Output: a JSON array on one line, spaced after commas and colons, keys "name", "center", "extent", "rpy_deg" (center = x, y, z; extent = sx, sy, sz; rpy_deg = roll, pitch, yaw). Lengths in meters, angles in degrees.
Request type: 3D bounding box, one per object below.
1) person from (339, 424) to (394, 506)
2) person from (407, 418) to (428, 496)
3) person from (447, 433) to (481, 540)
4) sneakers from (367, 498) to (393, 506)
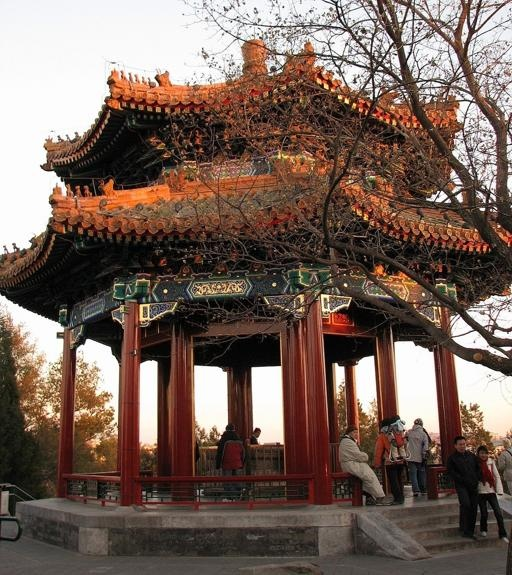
[{"name": "person", "center": [1.570, 2.696, 10.170], "extent": [0.504, 1.160, 0.613], "rpy_deg": [-15, -20, 37]}, {"name": "person", "center": [2.893, 3.038, 12.010], "extent": [0.391, 1.307, 1.118], "rpy_deg": [-6, -16, 11]}, {"name": "person", "center": [2.918, 2.772, 9.343], "extent": [0.422, 1.373, 0.614], "rpy_deg": [-7, -16, 15]}, {"name": "sneakers", "center": [1.870, 3.250, 10.157], "extent": [0.405, 0.151, 0.140], "rpy_deg": [-3, -17, 5]}]
